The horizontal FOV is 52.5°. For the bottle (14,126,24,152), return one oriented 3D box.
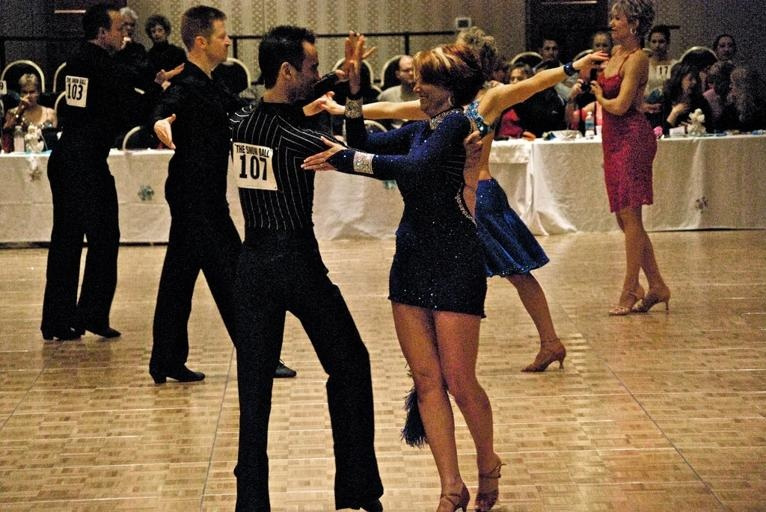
[{"bbox_3d":[-3.917,-1.244,8.346,0.101,0.260,0.130,-5,13,-24],"label":"bottle"}]

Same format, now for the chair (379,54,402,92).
[{"bbox_3d":[0.097,-2.532,10.772,0.409,0.493,0.543,0,-1,1],"label":"chair"}]

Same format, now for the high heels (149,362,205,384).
[{"bbox_3d":[-1.250,0.720,4.774,0.352,0.144,0.125,-5,11,-16],"label":"high heels"}]

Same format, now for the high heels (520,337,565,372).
[{"bbox_3d":[1.010,0.609,4.756,0.384,0.232,0.130,-6,1,18],"label":"high heels"}]

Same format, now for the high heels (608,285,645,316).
[{"bbox_3d":[1.883,0.333,5.842,0.138,0.180,0.389,-10,4,45],"label":"high heels"}]
